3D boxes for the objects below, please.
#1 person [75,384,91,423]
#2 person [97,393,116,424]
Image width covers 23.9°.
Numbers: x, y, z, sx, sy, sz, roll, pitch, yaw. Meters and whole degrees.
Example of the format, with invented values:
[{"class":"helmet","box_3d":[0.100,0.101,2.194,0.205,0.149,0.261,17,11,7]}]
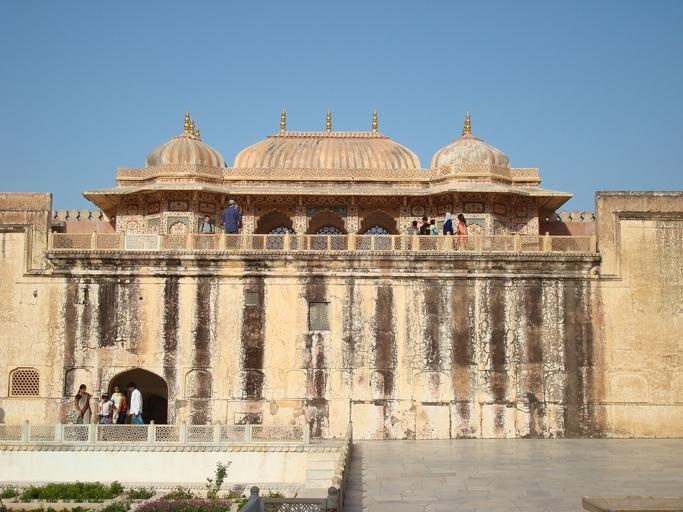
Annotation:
[{"class":"person","box_3d":[-8.200,4.627,49.513,0.500,1.174,1.795,-3,12,-9]},{"class":"person","box_3d":[-7.429,4.694,49.240,0.501,0.836,0.745,-2,12,-5]}]
